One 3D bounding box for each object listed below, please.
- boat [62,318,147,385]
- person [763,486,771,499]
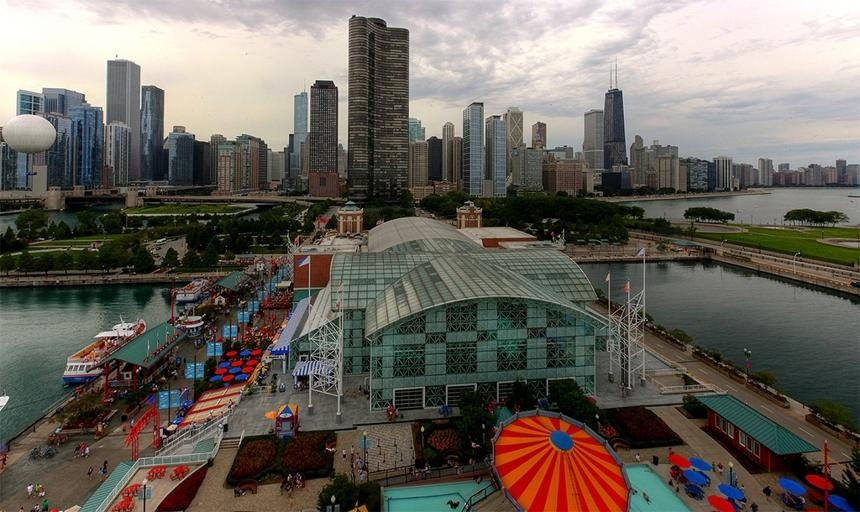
[{"bbox_3d":[-59.377,18.068,104.220,4.758,4.874,14.617,8,28,11],"label":"boat"},{"bbox_3d":[46.990,32.773,79.468,1.519,1.329,0.932,-10,12,-39],"label":"person"}]
